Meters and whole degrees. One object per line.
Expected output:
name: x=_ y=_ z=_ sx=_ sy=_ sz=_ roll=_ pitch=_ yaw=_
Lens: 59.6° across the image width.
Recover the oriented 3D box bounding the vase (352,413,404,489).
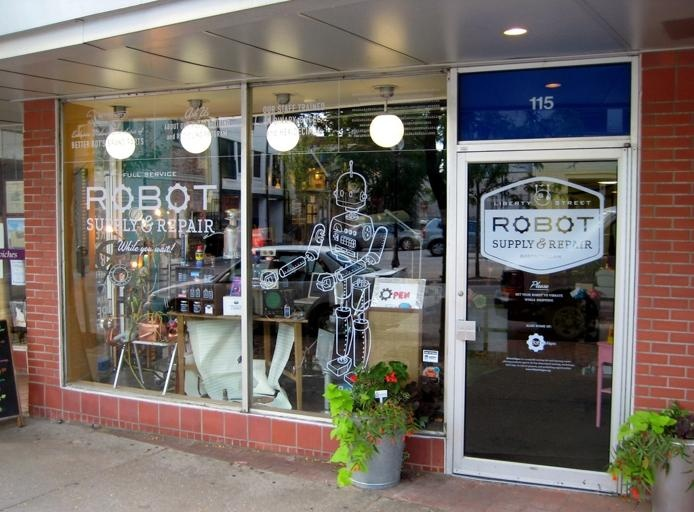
vase: x=0.310 y=1.884 z=5.843 sx=0.561 sy=0.471 sz=0.619 roll=0 pitch=-8 yaw=33

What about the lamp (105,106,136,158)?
lamp: x=-2.743 y=-1.475 z=7.261 sx=0.361 sy=0.634 sz=0.362 roll=6 pitch=13 yaw=28

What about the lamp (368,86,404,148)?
lamp: x=0.402 y=-1.430 z=6.234 sx=0.365 sy=0.618 sz=0.372 roll=0 pitch=12 yaw=3

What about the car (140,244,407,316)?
car: x=-1.019 y=0.115 z=6.850 sx=1.860 sy=0.623 sz=1.075 roll=1 pitch=3 yaw=13

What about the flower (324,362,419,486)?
flower: x=0.206 y=1.652 z=5.889 sx=0.800 sy=1.065 sz=1.142 roll=-3 pitch=-1 yaw=3

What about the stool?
stool: x=-2.355 y=1.331 z=7.155 sx=0.638 sy=0.467 sz=0.240 roll=0 pitch=-10 yaw=20

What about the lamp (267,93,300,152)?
lamp: x=-0.684 y=-1.418 z=6.458 sx=0.374 sy=0.621 sz=0.105 roll=4 pitch=10 yaw=26

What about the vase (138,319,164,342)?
vase: x=-2.340 y=0.874 z=7.208 sx=0.267 sy=0.232 sz=0.263 roll=0 pitch=1 yaw=-36
